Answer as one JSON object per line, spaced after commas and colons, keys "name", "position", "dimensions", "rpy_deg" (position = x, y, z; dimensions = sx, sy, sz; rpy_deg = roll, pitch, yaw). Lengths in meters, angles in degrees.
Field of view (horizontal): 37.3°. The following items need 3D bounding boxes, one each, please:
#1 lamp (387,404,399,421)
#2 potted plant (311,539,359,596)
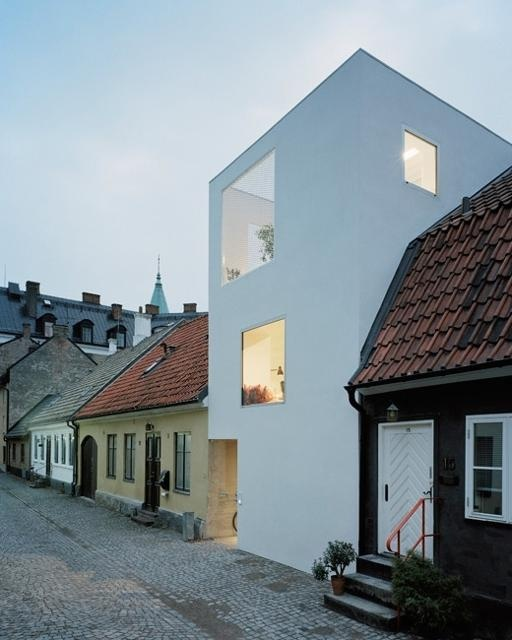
{"name": "lamp", "position": [1.876, 1.272, 10.400], "dimensions": [0.184, 0.277, 0.198], "rpy_deg": [2, 0, -7]}
{"name": "potted plant", "position": [1.134, 3.413, 10.510], "dimensions": [0.615, 0.772, 0.500], "rpy_deg": [-14, -20, 25]}
